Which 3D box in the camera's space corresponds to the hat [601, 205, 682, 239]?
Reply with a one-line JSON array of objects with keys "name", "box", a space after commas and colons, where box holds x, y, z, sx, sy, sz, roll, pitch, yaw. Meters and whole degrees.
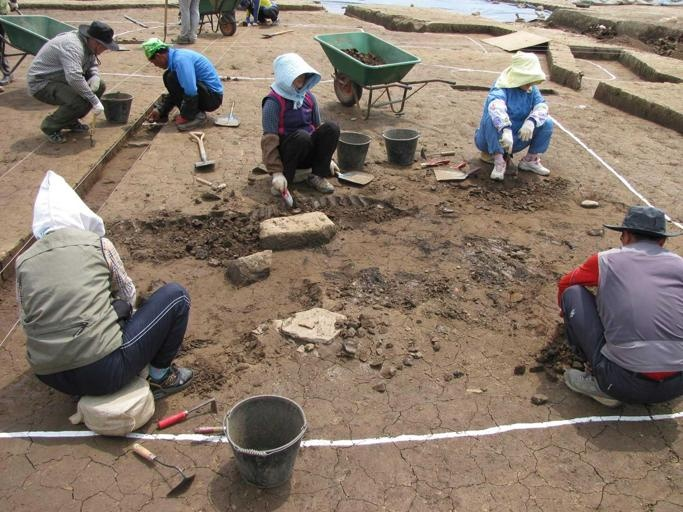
[{"name": "hat", "box": [2.291, -0.183, 4.018, 0.478, 0.146, 0.440, 5, 0, 16]}]

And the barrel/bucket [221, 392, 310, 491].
[{"name": "barrel/bucket", "box": [-0.496, 1.238, 3.475, 0.573, 0.386, 0.503, -8, 27, -23]}]

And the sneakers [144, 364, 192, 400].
[{"name": "sneakers", "box": [-1.284, 0.950, 4.016, 0.417, 0.169, 0.162, -21, -7, 10]}]

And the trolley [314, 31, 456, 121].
[{"name": "trolley", "box": [0.501, -2.631, 7.905, 1.111, 0.923, 1.955, -22, 44, -29]}]

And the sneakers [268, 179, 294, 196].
[{"name": "sneakers", "box": [-0.700, -0.749, 5.849, 0.146, 0.140, 0.166, -6, 17, -23]}]

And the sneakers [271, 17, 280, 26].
[{"name": "sneakers", "box": [-1.901, -6.661, 14.991, 0.181, 0.173, 0.433, -13, 18, 0]}]

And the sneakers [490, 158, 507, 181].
[{"name": "sneakers", "box": [1.960, -1.058, 6.487, 0.154, 0.157, 0.338, 6, 48, 25]}]

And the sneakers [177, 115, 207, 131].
[{"name": "sneakers", "box": [-2.092, -1.860, 7.405, 0.434, 0.184, 0.163, -24, 70, -38]}]

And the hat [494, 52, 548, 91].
[{"name": "hat", "box": [2.164, -2.218, 6.477, 0.492, 0.326, 0.603, -1, 0, -23]}]

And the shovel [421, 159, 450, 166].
[{"name": "shovel", "box": [1.217, -1.194, 6.770, 0.364, 0.078, 0.133, -3, 14, -13]}]

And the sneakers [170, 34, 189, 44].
[{"name": "sneakers", "box": [-3.693, -4.887, 11.896, 0.627, 0.228, 0.203, 5, 23, 13]}]

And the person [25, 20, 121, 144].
[{"name": "person", "box": [-3.431, -2.236, 6.675, 1.049, 1.390, 0.937, -13, 41, -25]}]

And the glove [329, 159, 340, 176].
[{"name": "glove", "box": [-0.099, -1.064, 6.339, 0.150, 0.063, 0.177, -18, 81, -47]}]

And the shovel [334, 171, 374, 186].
[{"name": "shovel", "box": [0.174, -0.929, 6.297, 0.551, 0.068, 0.163, 13, 40, 10]}]

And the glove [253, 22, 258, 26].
[{"name": "glove", "box": [-2.472, -6.562, 14.886, 0.151, 0.080, 0.076, -2, 10, 4]}]

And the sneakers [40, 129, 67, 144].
[{"name": "sneakers", "box": [-3.736, -1.510, 6.681, 0.133, 0.156, 0.392, 38, 28, 32]}]

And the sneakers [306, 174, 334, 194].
[{"name": "sneakers", "box": [-0.231, -0.848, 6.127, 0.387, 0.149, 0.157, 28, 46, 36]}]

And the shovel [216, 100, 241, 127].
[{"name": "shovel", "box": [-1.651, -2.015, 7.611, 0.318, 0.089, 0.472, 2, 47, -2]}]

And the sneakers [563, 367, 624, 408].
[{"name": "sneakers", "box": [1.854, 0.984, 3.964, 0.495, 0.207, 0.145, 25, 73, 11]}]

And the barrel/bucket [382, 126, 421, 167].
[{"name": "barrel/bucket", "box": [0.749, -1.372, 6.600, 0.559, 0.343, 0.493, 0, 34, 8]}]

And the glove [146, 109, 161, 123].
[{"name": "glove", "box": [-2.825, -2.011, 7.706, 0.154, 0.108, 0.436, -39, 16, -27]}]

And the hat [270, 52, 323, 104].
[{"name": "hat", "box": [-0.484, -1.869, 5.647, 0.462, 0.543, 0.370, -21, 45, -33]}]

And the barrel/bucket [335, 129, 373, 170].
[{"name": "barrel/bucket", "box": [0.157, -1.285, 6.520, 0.471, 0.375, 0.462, 6, 32, -4]}]

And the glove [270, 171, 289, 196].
[{"name": "glove", "box": [-0.695, -0.790, 5.753, 0.210, 0.220, 0.237, -4, -5, -7]}]

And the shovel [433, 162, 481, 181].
[{"name": "shovel", "box": [1.463, -1.017, 6.548, 0.626, 0.080, 0.329, 1, 32, -7]}]

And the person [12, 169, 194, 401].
[{"name": "person", "box": [-1.668, 0.351, 3.702, 1.036, 1.417, 0.903, -5, 38, -16]}]

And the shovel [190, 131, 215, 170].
[{"name": "shovel", "box": [-1.764, -1.282, 6.655, 0.345, 0.143, 0.815, -7, 38, -13]}]

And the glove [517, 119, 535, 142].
[{"name": "glove", "box": [2.245, -1.503, 6.320, 0.227, 0.225, 0.067, 5, 13, -6]}]

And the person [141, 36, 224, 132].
[{"name": "person", "box": [-2.245, -2.381, 7.307, 0.818, 1.163, 0.750, 22, 39, 20]}]

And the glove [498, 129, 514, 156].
[{"name": "glove", "box": [1.999, -1.379, 6.295, 0.108, 0.261, 0.212, -2, -11, -10]}]

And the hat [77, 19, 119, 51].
[{"name": "hat", "box": [-3.157, -2.740, 6.551, 0.485, 0.181, 0.390, 36, 25, -5]}]
